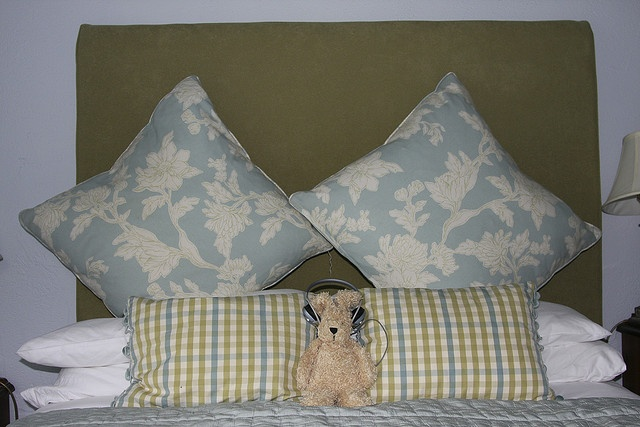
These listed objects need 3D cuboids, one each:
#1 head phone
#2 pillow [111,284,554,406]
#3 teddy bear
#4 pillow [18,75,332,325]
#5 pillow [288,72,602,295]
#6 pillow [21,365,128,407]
[{"bbox_3d":[0.060,0.358,2.757,0.254,0.236,0.119,0,33,12],"label":"head phone"},{"bbox_3d":[0.010,0.568,2.812,1.437,0.221,0.450,-3,76,-2],"label":"pillow"},{"bbox_3d":[0.070,0.549,2.842,0.434,0.612,0.371,0,-2,-3],"label":"teddy bear"},{"bbox_3d":[-0.611,-0.008,2.885,1.007,1.074,0.321,-39,1,-15],"label":"pillow"},{"bbox_3d":[0.584,0.010,2.892,0.926,0.277,0.931,-38,88,-9],"label":"pillow"},{"bbox_3d":[-0.987,0.717,2.830,0.279,0.079,0.247,-6,28,2],"label":"pillow"}]
